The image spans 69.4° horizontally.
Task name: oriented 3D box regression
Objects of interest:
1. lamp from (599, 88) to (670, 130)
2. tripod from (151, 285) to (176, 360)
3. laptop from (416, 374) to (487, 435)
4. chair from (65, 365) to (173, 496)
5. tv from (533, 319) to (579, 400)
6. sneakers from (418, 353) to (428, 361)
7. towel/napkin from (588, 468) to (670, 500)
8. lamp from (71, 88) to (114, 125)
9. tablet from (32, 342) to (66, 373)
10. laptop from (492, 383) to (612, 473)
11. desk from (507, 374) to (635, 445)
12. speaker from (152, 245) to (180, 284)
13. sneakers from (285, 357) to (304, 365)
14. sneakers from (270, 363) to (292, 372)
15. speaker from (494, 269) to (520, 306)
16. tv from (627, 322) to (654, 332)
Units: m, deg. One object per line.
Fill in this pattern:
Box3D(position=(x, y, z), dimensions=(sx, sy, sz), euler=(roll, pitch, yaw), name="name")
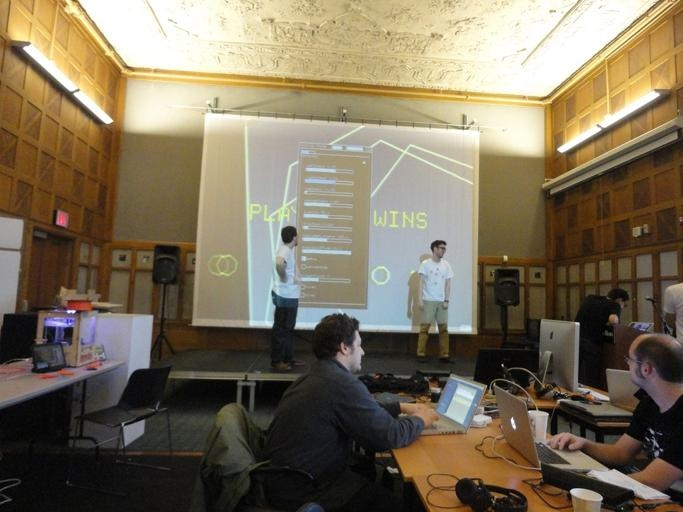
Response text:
Box3D(position=(4.280, -2.134, 7.281), dimensions=(0.271, 0.467, 1.090), euler=(-1, 11, -11), name="lamp")
Box3D(position=(-2.910, 1.058, 7.999), dimensions=(0.347, 1.212, 1.172), euler=(-2, 10, -19), name="tripod")
Box3D(position=(0.826, 1.057, 3.618), dimensions=(0.237, 0.399, 0.393), euler=(8, -2, -29), name="laptop")
Box3D(position=(-2.078, 1.589, 4.698), dimensions=(0.762, 1.060, 0.805), euler=(0, -6, 8), name="chair")
Box3D(position=(1.874, 0.918, 4.296), dimensions=(0.232, 0.634, 0.679), euler=(-1, 1, -6), name="tv")
Box3D(position=(1.241, 1.561, 7.588), dimensions=(0.124, 0.101, 0.098), euler=(-1, -1, 34), name="sneakers")
Box3D(position=(1.680, 1.339, 2.896), dimensions=(0.231, 0.064, 0.255), euler=(10, -2, -27), name="towel/napkin")
Box3D(position=(-3.946, -2.331, 7.809), dimensions=(0.340, 0.418, 1.196), euler=(0, 11, -7), name="lamp")
Box3D(position=(-2.591, 0.901, 4.349), dimensions=(0.073, 0.185, 0.214), euler=(-21, -12, 18), name="tablet")
Box3D(position=(1.330, 1.115, 3.271), dimensions=(0.497, 0.380, 0.608), euler=(0, -6, -5), name="laptop")
Box3D(position=(1.942, 1.422, 4.198), dimensions=(0.414, 0.298, 1.161), euler=(0, -7, -10), name="desk")
Box3D(position=(-2.848, 0.153, 8.051), dimensions=(0.426, 0.688, 0.342), euler=(2, -17, -12), name="speaker")
Box3D(position=(-0.606, 1.405, 6.550), dimensions=(0.216, 0.104, 0.085), euler=(2, -1, -22), name="sneakers")
Box3D(position=(-0.764, 1.420, 6.270), dimensions=(0.194, 0.083, 0.105), euler=(-1, -1, -1), name="sneakers")
Box3D(position=(2.879, 0.645, 8.542), dimensions=(0.396, 0.729, 0.390), euler=(-2, -36, 21), name="speaker")
Box3D(position=(3.742, 0.886, 6.159), dimensions=(0.048, 0.086, 0.200), euler=(27, 3, -12), name="tv")
